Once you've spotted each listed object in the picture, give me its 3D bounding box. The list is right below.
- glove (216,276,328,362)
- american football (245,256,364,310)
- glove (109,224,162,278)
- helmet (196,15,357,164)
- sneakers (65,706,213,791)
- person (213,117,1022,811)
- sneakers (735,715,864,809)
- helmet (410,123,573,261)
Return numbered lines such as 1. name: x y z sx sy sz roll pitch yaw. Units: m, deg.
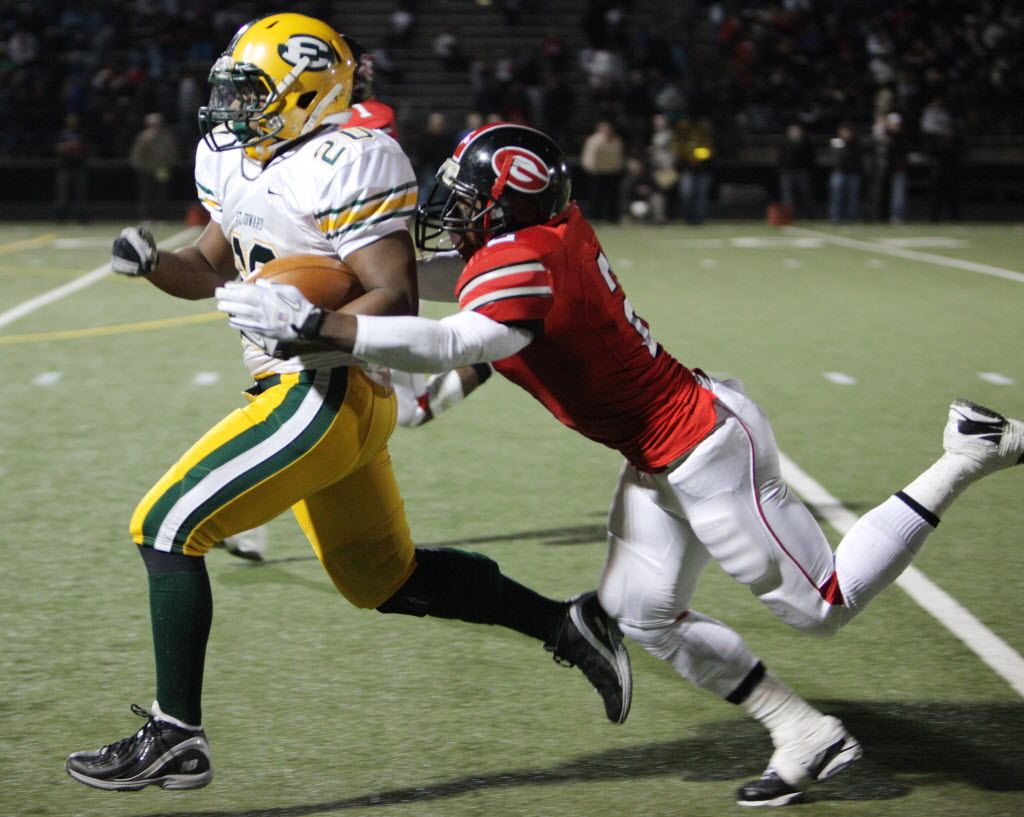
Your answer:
1. glove: -0.580 -0.212 2.920 0.262 0.098 0.165 18 19 10
2. american football: -0.548 -0.336 3.330 0.248 0.111 0.159 24 -7 -6
3. glove: -1.090 -0.458 3.553 0.170 0.134 0.172 5 -4 -20
4. helmet: -0.647 -0.913 3.484 0.664 0.364 0.382 -8 32 -11
5. sneakers: -0.949 0.864 3.085 0.404 0.164 0.153 15 -13 -42
6. person: 0.354 0.137 3.199 1.866 1.736 0.809 4 14 9
7. sneakers: 0.708 0.904 3.212 0.322 0.225 0.144 -2 14 -17
8. helmet: -0.043 -0.577 3.236 0.457 0.214 0.274 -5 13 -14
